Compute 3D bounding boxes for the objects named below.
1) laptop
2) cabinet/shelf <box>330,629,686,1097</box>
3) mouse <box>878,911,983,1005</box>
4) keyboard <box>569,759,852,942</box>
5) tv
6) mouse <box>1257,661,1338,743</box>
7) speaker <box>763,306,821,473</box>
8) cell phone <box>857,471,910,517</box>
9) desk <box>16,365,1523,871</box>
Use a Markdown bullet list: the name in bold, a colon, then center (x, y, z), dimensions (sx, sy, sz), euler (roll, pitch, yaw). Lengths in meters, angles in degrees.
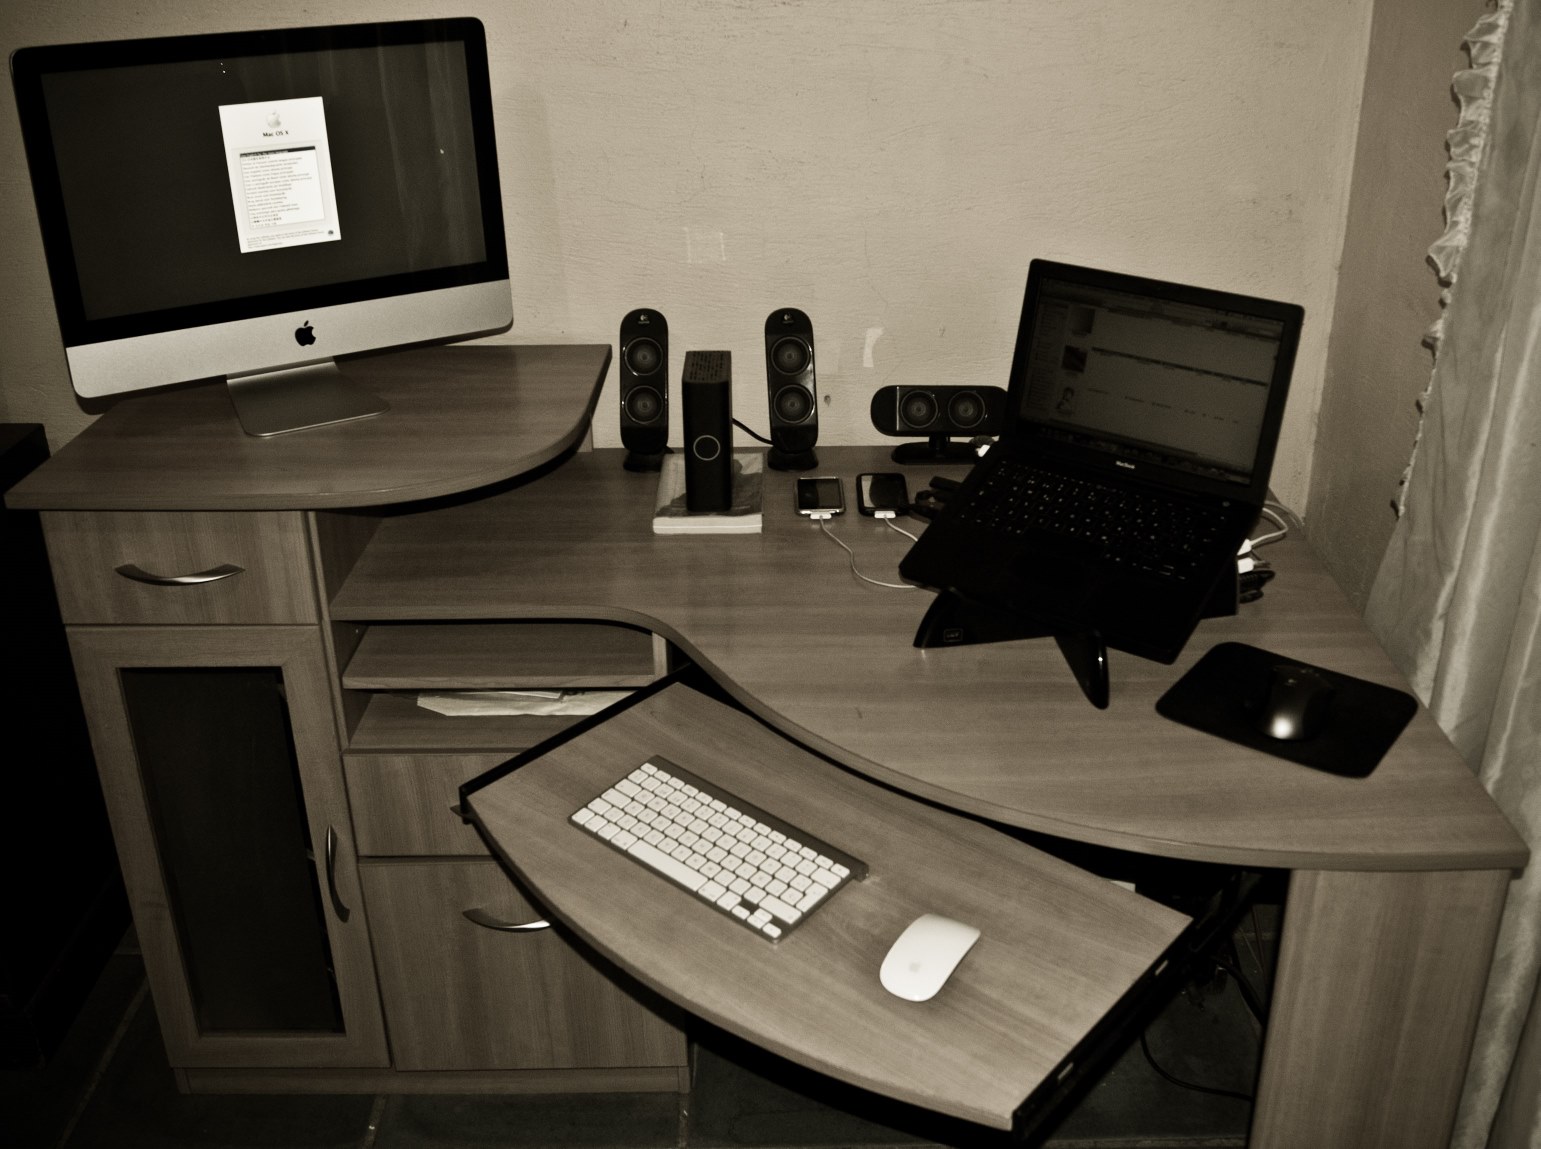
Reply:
- **laptop**: center (0.490, -0.205, 1.954), dimensions (0.519, 0.298, 0.525), euler (26, 51, 39)
- **cabinet/shelf**: center (-0.412, 0.446, 2.362), dimensions (0.482, 0.891, 0.399), euler (-3, 20, 12)
- **mouse**: center (0.196, 0.471, 1.608), dimensions (0.074, 0.053, 0.136), euler (17, 27, 35)
- **keyboard**: center (-0.101, 0.367, 1.769), dimensions (0.312, 0.029, 0.152), euler (6, 65, 30)
- **tv**: center (-0.815, -0.578, 2.129), dimensions (0.663, 0.557, 0.178), euler (-13, 32, -24)
- **mouse**: center (0.727, 0.182, 1.809), dimensions (0.117, 0.117, 0.075), euler (12, -8, -21)
- **speaker**: center (0.056, -0.334, 2.456), dimensions (0.124, 0.300, 0.123), euler (-1, -10, -16)
- **cell phone**: center (0.199, -0.147, 2.337), dimensions (0.064, 0.021, 0.092), euler (1, 37, 6)
- **desk**: center (-0.072, 0.012, 2.067), dimensions (2.163, 0.493, 0.692), euler (6, 23, 14)
